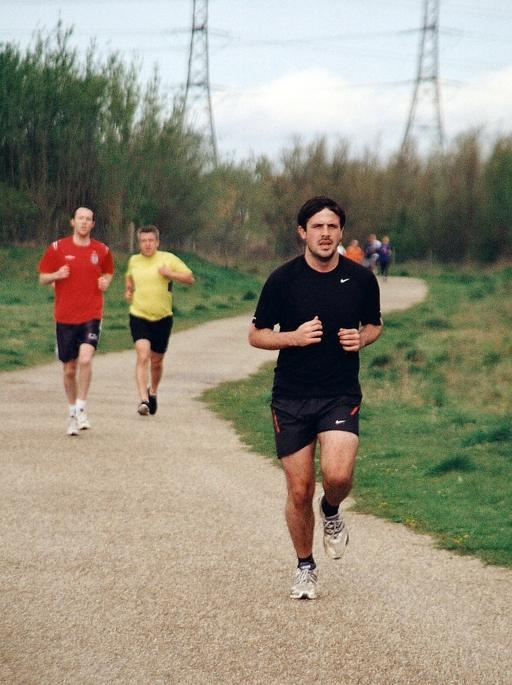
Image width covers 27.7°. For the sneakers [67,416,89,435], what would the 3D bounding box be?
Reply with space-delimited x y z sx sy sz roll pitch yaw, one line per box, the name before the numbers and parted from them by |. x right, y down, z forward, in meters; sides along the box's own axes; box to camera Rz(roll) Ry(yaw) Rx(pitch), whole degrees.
sneakers | -1.561 0.718 8.938 0.091 0.139 0.276 -3 -6 -13

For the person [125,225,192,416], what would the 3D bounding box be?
person | -0.988 -0.173 10.148 0.595 1.931 1.147 0 9 -7

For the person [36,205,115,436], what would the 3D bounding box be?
person | -1.623 -0.208 9.066 0.559 1.942 0.773 3 9 14

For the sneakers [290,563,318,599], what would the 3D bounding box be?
sneakers | 0.244 1.192 5.255 0.135 0.170 0.253 2 10 5

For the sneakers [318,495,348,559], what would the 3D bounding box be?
sneakers | 0.406 0.987 5.394 0.114 0.358 0.140 -11 9 5

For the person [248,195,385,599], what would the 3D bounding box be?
person | 0.302 0.270 5.252 0.688 1.984 0.596 1 8 -2
